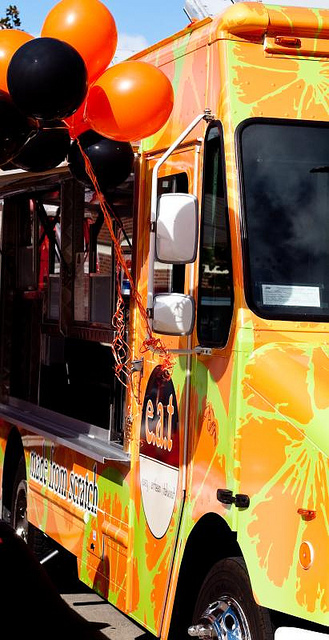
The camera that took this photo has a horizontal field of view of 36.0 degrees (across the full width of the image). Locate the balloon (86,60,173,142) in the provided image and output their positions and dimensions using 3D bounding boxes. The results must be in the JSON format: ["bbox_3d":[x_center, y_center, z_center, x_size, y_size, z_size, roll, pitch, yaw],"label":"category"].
[{"bbox_3d":[-0.129,-1.293,2.952,0.365,0.539,0.405,11,15,30],"label":"balloon"}]

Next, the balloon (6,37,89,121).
[{"bbox_3d":[-0.590,-1.186,2.735,0.387,0.534,0.363,-1,4,-39],"label":"balloon"}]

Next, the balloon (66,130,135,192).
[{"bbox_3d":[-0.434,-1.038,3.303,0.445,0.379,0.310,-2,12,1],"label":"balloon"}]

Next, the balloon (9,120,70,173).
[{"bbox_3d":[-0.819,-1.101,3.350,0.286,0.258,0.348,-10,27,49],"label":"balloon"}]
